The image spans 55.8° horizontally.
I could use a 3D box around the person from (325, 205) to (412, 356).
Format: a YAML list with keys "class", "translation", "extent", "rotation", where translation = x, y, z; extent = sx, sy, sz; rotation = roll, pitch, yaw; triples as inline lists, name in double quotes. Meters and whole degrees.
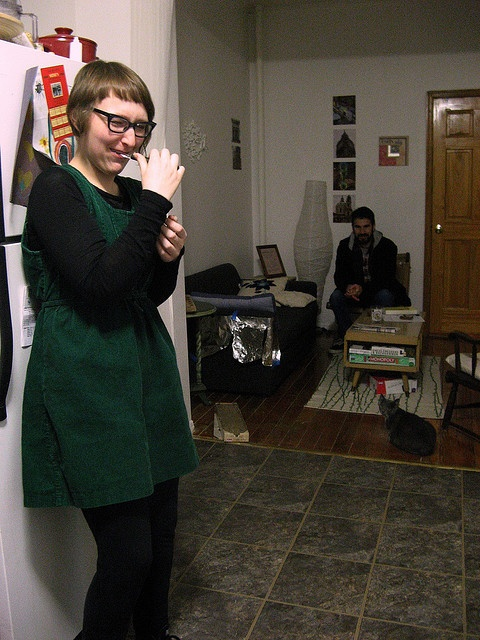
- class: "person"
  translation: [1.419, -0.466, 5.167]
  extent: [0.791, 1.600, 1.007]
  rotation: [5, 13, 36]

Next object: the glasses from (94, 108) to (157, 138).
- class: "glasses"
  translation: [-0.201, -0.343, 0.797]
  extent: [0.036, 0.038, 0.106]
  rotation: [5, 8, 45]

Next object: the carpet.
- class: "carpet"
  translation: [1.273, 0.572, 4.103]
  extent: [1.064, 0.165, 1.477]
  rotation: [2, 7, 22]

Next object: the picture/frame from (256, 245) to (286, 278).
- class: "picture/frame"
  translation: [0.441, -0.787, 6.074]
  extent: [0.412, 0.533, 0.048]
  rotation: [-8, -18, -39]
